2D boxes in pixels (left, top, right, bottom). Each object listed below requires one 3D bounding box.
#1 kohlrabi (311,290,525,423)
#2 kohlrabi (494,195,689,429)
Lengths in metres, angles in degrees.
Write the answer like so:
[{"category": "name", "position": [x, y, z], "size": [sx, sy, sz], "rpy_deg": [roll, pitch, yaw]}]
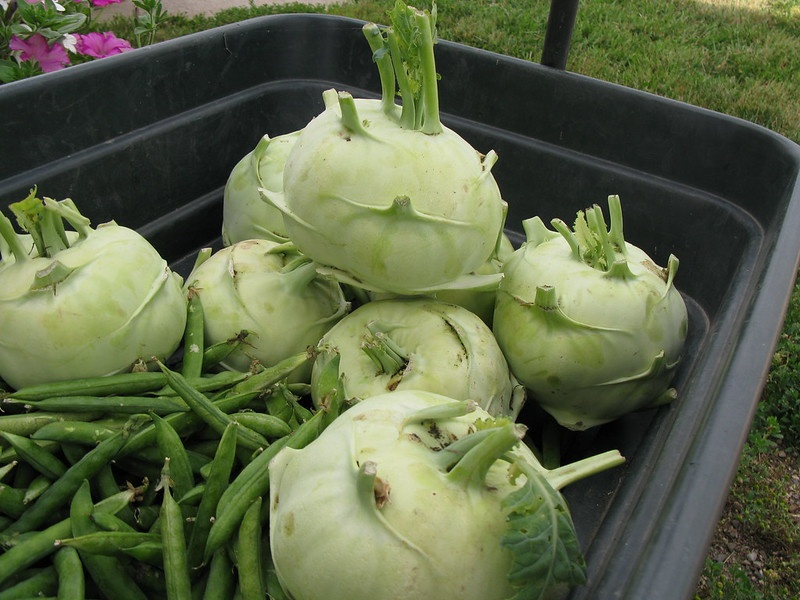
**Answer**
[{"category": "kohlrabi", "position": [0.048, 0.166, 1.928], "size": [0.403, 0.294, 0.397], "rpy_deg": [-17, 60, -13]}, {"category": "kohlrabi", "position": [0.562, 0.060, 2.252], "size": [0.595, 0.678, 0.564], "rpy_deg": [-11, 9, 13]}]
